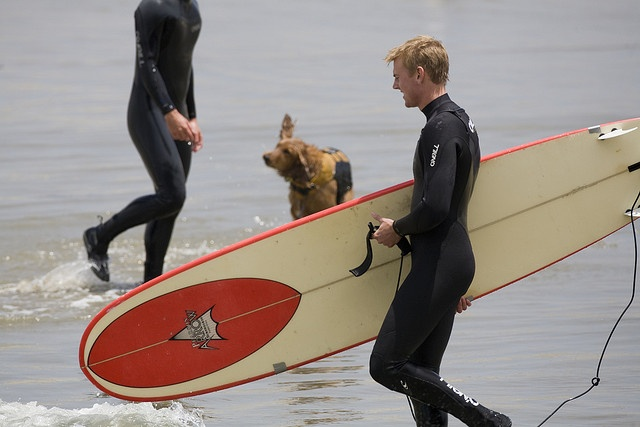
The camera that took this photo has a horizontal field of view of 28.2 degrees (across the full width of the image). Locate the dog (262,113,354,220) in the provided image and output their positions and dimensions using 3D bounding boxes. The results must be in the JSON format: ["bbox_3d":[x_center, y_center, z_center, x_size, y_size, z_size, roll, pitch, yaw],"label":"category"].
[{"bbox_3d":[0.009,-0.617,18.474,0.684,1.378,2.303,12,9,37],"label":"dog"}]
